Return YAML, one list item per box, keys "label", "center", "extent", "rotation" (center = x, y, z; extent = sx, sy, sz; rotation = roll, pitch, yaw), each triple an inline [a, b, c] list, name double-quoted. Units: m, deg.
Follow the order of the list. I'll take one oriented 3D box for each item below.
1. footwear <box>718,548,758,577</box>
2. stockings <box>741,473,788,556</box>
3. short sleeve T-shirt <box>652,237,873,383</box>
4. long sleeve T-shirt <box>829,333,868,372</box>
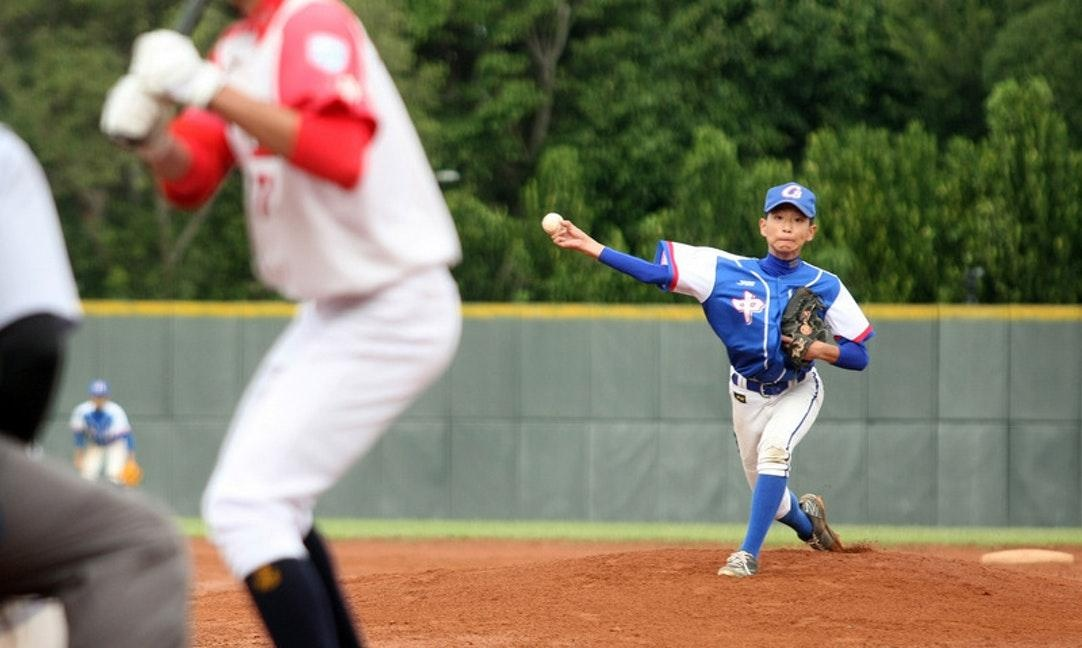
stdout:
- label: "footwear"
  center: [1.688, 2.034, 14.065]
  extent: [0.340, 0.143, 0.168]
  rotation: [4, -7, -21]
- label: "stockings"
  center: [1.920, 1.580, 14.172]
  extent: [0.241, 0.928, 0.255]
  rotation: [31, -31, -16]
- label: "short sleeve T-shirt"
  center: [2.023, -0.061, 15.420]
  extent: [1.375, 0.863, 0.461]
  rotation: [3, -14, -2]
- label: "long sleeve T-shirt"
  center: [2.663, 0.256, 14.264]
  extent: [0.271, 0.282, 0.317]
  rotation: [1, 4, 10]
